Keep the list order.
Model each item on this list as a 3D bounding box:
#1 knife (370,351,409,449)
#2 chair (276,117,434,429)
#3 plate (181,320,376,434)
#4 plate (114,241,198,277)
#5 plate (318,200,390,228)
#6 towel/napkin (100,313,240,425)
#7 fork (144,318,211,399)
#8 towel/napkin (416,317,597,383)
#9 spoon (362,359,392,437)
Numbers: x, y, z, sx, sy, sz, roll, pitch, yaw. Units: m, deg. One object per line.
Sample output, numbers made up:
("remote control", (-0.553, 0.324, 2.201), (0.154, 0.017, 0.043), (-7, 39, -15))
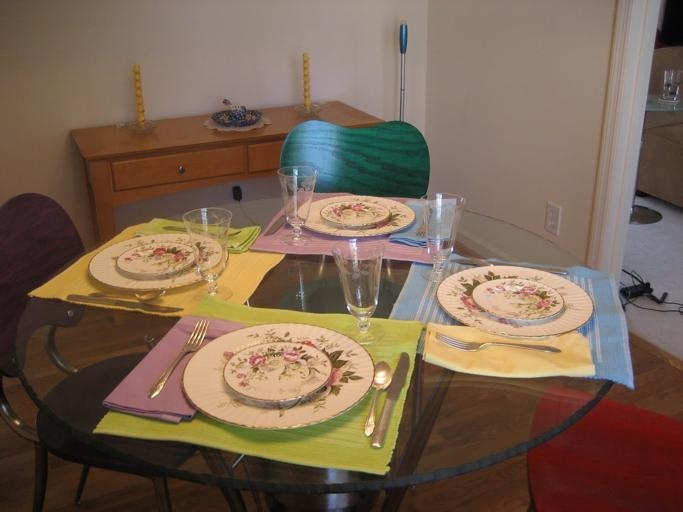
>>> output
("knife", (0.077, 0.226, 0.871), (0.030, 0.012, 0.237), (13, 34, 6))
("chair", (0.082, -0.086, 2.054), (0.719, 0.902, 0.611), (-2, 32, -4))
("plate", (-0.106, 0.194, 0.889), (0.325, 0.033, 0.259), (3, 26, 8))
("plate", (-0.449, 0.011, 1.247), (0.123, 0.015, 0.123), (-17, 34, -34))
("plate", (0.045, -0.117, 1.448), (0.114, 0.012, 0.113), (-8, 29, -17))
("towel/napkin", (-0.310, 0.191, 0.917), (0.121, 0.020, 0.178), (9, 32, 16))
("fork", (-0.297, 0.179, 0.948), (0.027, 0.022, 0.191), (-3, 34, 21))
("towel/napkin", (0.311, 0.176, 0.937), (0.231, 0.034, 0.119), (3, 30, 3))
("spoon", (0.052, 0.231, 0.850), (0.026, 0.015, 0.137), (8, 37, 7))
